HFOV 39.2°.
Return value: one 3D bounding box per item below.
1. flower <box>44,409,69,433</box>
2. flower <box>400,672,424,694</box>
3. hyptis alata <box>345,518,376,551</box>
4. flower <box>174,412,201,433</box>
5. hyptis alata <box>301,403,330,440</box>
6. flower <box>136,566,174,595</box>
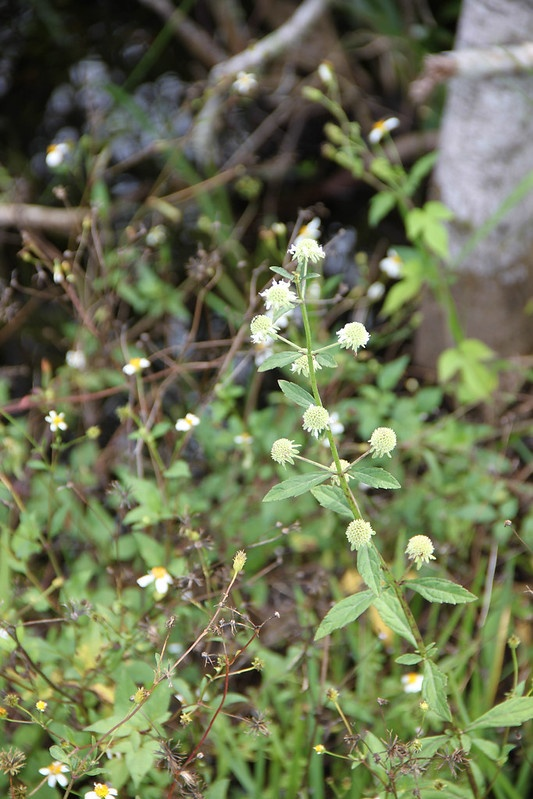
[{"bbox_3d":[-0.635,0.063,2.248,0.088,0.023,0.081,10,101,34],"label":"flower"},{"bbox_3d":[0.411,0.810,2.148,0.063,0.097,0.059,-2,59,18],"label":"flower"},{"bbox_3d":[0.195,0.287,1.575,0.066,0.062,0.061,-5,16,40],"label":"hyptis alata"},{"bbox_3d":[-0.227,0.070,2.060,0.067,0.061,0.023,-30,62,40],"label":"flower"},{"bbox_3d":[0.101,0.041,1.539,0.068,0.071,0.061,5,64,10],"label":"hyptis alata"},{"bbox_3d":[-0.292,0.479,1.928,0.094,0.030,0.089,9,16,12],"label":"flower"}]
